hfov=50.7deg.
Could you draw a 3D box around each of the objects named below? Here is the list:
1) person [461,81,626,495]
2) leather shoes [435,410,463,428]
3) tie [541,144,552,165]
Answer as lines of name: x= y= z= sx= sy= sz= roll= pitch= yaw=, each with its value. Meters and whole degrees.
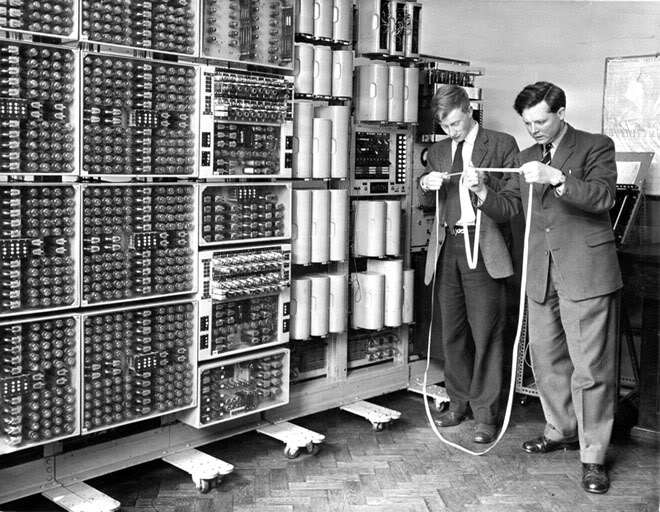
person: x=1.302 y=0.167 z=4.055 sx=0.755 sy=2.290 sz=0.744 roll=4 pitch=9 yaw=23
leather shoes: x=0.826 y=1.135 z=4.859 sx=0.183 sy=0.081 sz=0.096 roll=2 pitch=17 yaw=-22
tie: x=1.259 y=-0.591 z=4.050 sx=0.046 sy=0.177 sz=0.036 roll=-1 pitch=6 yaw=-44
